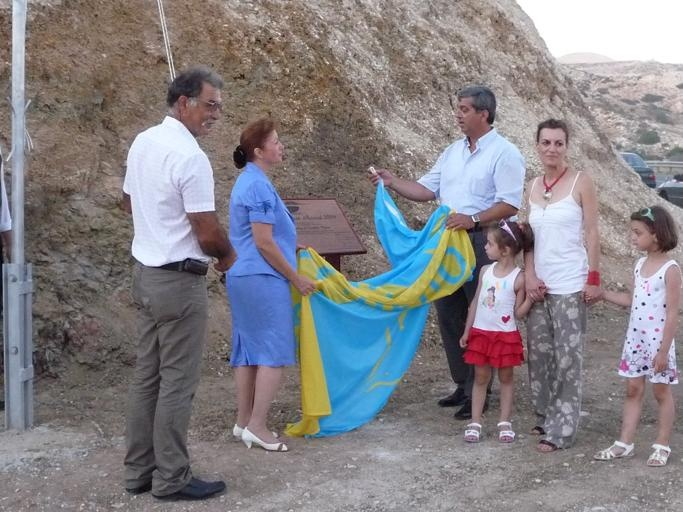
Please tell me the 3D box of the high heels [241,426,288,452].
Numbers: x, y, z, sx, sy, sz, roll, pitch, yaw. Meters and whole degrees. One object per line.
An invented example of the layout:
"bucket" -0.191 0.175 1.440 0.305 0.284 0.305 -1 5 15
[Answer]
"high heels" -0.687 1.628 8.232 0.486 0.236 0.167 2 5 3

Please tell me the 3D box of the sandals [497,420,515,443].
"sandals" 1.483 1.554 8.275 0.152 0.160 0.254 2 14 9

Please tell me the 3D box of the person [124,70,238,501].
"person" -1.321 0.233 7.385 0.884 3.353 0.936 0 14 3

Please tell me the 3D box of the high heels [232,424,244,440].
"high heels" -0.924 1.592 8.286 0.126 0.128 0.142 3 -12 9

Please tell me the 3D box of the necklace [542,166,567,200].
"necklace" 1.865 -0.630 8.159 0.167 0.291 0.015 25 13 38

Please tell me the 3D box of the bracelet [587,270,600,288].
"bracelet" 2.186 0.209 7.977 0.134 0.175 0.122 0 -6 30

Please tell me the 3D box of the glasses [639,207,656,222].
"glasses" 2.539 -0.336 7.654 0.081 0.115 0.028 -45 0 9

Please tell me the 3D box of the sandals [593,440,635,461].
"sandals" 2.323 1.672 7.892 0.312 0.124 0.151 -4 3 -5

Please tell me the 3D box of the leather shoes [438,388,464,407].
"leather shoes" 1.047 1.412 9.104 0.315 0.218 0.120 -1 7 -4

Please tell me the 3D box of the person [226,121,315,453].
"person" -0.672 0.267 8.088 0.670 2.839 0.706 2 14 9

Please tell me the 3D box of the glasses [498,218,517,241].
"glasses" 1.469 -0.228 8.203 0.044 0.161 0.158 -36 41 -8

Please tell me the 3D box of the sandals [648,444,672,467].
"sandals" 2.640 1.674 7.712 0.111 0.110 0.282 -4 4 27

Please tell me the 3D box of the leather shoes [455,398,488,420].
"leather shoes" 1.242 1.485 8.849 0.140 0.175 0.391 2 8 40

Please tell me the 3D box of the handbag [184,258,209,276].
"handbag" -1.153 0.101 7.312 0.153 0.066 0.118 9 -2 3

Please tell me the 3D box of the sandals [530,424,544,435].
"sandals" 1.756 1.576 8.295 0.055 0.047 0.141 3 9 17

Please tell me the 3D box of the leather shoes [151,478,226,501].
"leather shoes" -1.232 1.838 7.504 0.598 0.257 0.201 -2 1 -15

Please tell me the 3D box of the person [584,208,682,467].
"person" 2.515 0.671 7.755 0.616 2.092 0.643 1 14 5

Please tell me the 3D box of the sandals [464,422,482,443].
"sandals" 1.181 1.572 8.310 0.154 0.151 0.237 2 14 8
